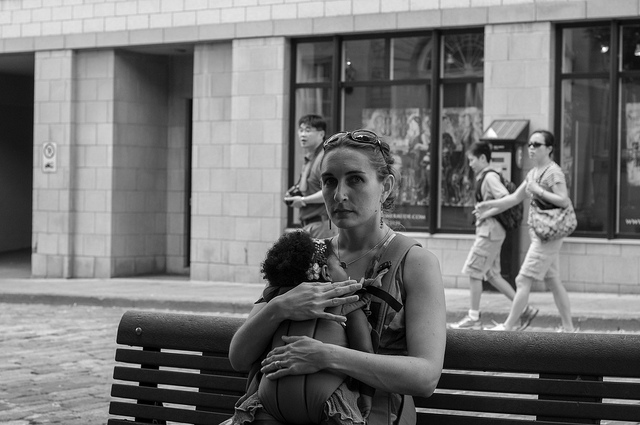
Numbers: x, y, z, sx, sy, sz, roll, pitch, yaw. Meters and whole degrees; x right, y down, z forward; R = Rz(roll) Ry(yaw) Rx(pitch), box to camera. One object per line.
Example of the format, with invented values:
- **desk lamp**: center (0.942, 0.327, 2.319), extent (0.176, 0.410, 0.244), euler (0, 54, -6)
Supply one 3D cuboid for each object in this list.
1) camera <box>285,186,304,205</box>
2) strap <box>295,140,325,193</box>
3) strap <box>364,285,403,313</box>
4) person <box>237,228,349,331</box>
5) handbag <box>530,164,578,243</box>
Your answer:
- **camera**: center (-0.403, -0.246, 15.477), extent (0.266, 0.314, 0.211), euler (12, -1, -14)
- **strap**: center (-0.121, -0.722, 15.238), extent (0.334, 0.766, 0.350), euler (3, 16, 12)
- **strap**: center (0.599, 0.816, 9.333), extent (0.318, 0.269, 0.026), euler (-7, 10, 12)
- **person**: center (-0.209, 0.482, 9.350), extent (0.722, 1.005, 0.532), euler (0, -30, 44)
- **handbag**: center (3.528, 0.071, 15.087), extent (0.623, 0.704, 0.391), euler (-6, 10, 13)
